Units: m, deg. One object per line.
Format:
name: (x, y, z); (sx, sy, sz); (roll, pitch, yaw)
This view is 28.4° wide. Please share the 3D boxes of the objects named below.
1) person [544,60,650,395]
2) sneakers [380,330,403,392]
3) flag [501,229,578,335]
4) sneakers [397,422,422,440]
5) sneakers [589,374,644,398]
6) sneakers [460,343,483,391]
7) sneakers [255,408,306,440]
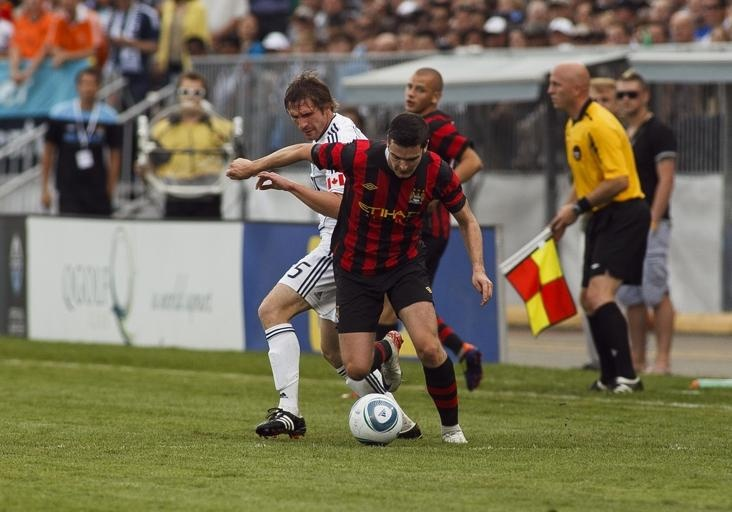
person: (2.170, -0.227, 13.385); (0.888, 3.040, 0.552); (4, 10, 18)
sneakers: (0.166, 0.904, 12.182); (0.163, 0.513, 0.224); (0, 15, 32)
flag: (1.778, 0.244, 14.572); (0.792, 0.990, 0.118); (-41, -6, -3)
sneakers: (0.374, 1.446, 11.877); (0.153, 0.107, 0.129); (2, -2, -3)
sneakers: (2.302, 1.210, 13.470); (0.519, 0.232, 0.183); (4, 4, 30)
sneakers: (1.005, 1.014, 13.609); (0.224, 0.480, 0.174); (1, 16, 27)
sneakers: (-0.690, 1.377, 11.829); (0.378, 0.216, 0.222); (6, 46, -10)
